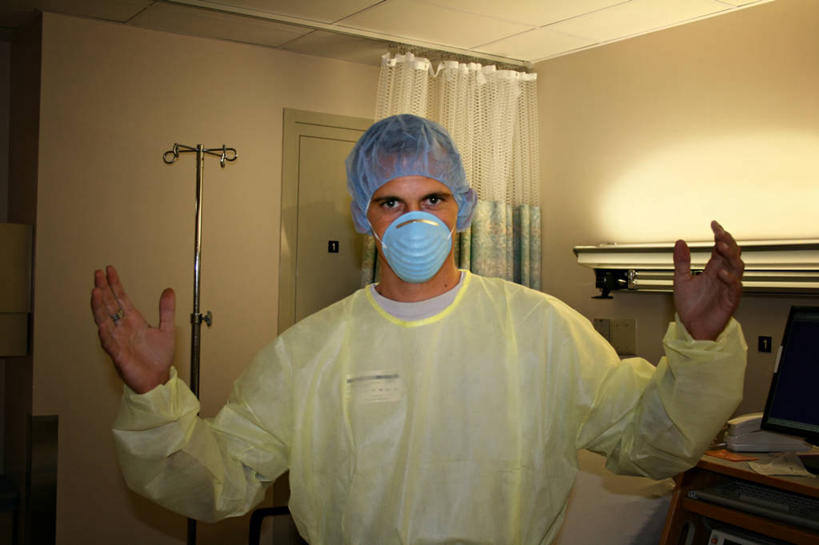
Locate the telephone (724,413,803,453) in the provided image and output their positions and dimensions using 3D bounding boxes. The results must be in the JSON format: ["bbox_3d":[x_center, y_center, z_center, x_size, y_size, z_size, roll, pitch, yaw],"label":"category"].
[{"bbox_3d":[1.714,0.769,3.156,0.297,0.166,0.186,0,-6,-3],"label":"telephone"}]

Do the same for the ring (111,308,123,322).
[{"bbox_3d":[-0.868,0.130,1.927,0.024,0.038,0.013,22,-27,-15],"label":"ring"}]

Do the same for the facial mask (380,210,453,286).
[{"bbox_3d":[0.036,-0.089,2.197,0.203,0.250,0.187,-1,4,-10],"label":"facial mask"}]
